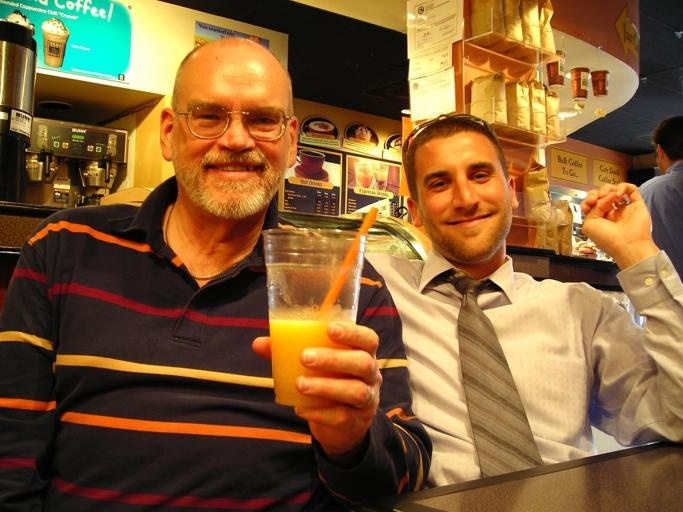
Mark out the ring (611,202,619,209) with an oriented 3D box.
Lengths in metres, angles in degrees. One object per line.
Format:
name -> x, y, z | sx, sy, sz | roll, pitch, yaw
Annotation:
ring -> 1.029, -0.194, 1.919 | 0.018, 0.029, 0.029 | 0, -21, 3

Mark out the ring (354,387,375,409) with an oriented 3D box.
ring -> 0.048, 0.277, 1.016 | 0.032, 0.043, 0.042 | 6, 22, 7

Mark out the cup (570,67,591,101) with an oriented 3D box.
cup -> 2.226, -1.656, 4.789 | 0.156, 0.263, 0.271 | 3, 0, 21
